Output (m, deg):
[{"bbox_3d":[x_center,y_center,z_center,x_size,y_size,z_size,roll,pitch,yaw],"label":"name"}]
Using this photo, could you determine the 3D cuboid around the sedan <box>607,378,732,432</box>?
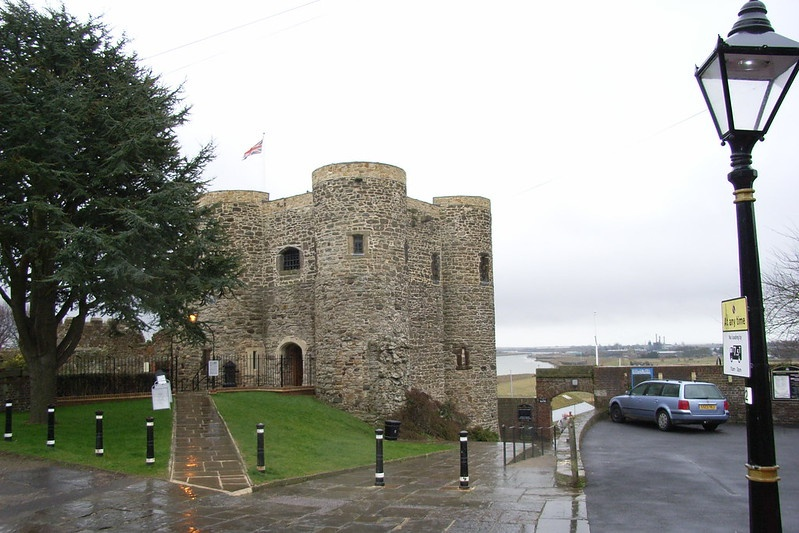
[{"bbox_3d":[10.393,5.246,25.514,2.228,1.324,4.283,4,-5,-15],"label":"sedan"}]

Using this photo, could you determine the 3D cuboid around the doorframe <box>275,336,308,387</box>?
[{"bbox_3d":[-5.636,5.028,34.495,1.208,2.319,1.492,1,-2,-9],"label":"doorframe"}]

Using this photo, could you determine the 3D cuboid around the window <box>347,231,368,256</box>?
[{"bbox_3d":[-1.981,-1.138,31.366,1.480,1.536,0.149,0,-10,-4],"label":"window"}]

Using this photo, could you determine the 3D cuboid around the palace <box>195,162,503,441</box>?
[{"bbox_3d":[-2.018,2.151,40.751,16.590,13.566,16.533,-7,-10,42],"label":"palace"}]

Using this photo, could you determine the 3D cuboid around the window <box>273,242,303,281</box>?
[{"bbox_3d":[-5.892,-0.308,35.224,2.471,2.747,0.373,-2,-5,34],"label":"window"}]

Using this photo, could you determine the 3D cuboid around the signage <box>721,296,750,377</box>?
[{"bbox_3d":[5.534,1.149,10.800,0.238,1.313,0.538,0,-2,-4],"label":"signage"}]
